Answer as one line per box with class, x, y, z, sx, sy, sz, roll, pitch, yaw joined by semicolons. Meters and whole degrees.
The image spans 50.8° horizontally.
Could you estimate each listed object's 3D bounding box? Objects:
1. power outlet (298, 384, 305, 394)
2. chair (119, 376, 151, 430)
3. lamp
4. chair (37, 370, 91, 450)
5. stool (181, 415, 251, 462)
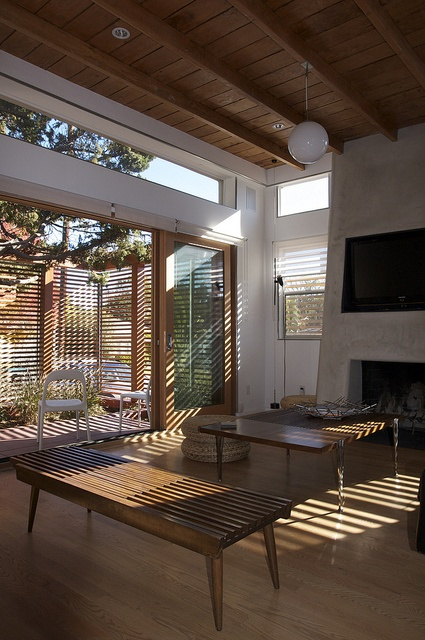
power outlet;1.136;0.878;5.640;0.036;0.097;0.126;2;-5;-21
chair;-0.922;0.952;5.315;0.330;0.586;1.349;1;-5;-10
lamp;0.688;-1.488;3.215;0.269;0.747;0.274;-1;2;6
chair;-1.339;0.790;4.123;0.405;0.667;1.015;2;-5;-15
stool;0.015;0.985;3.617;0.460;0.232;0.464;1;1;11
